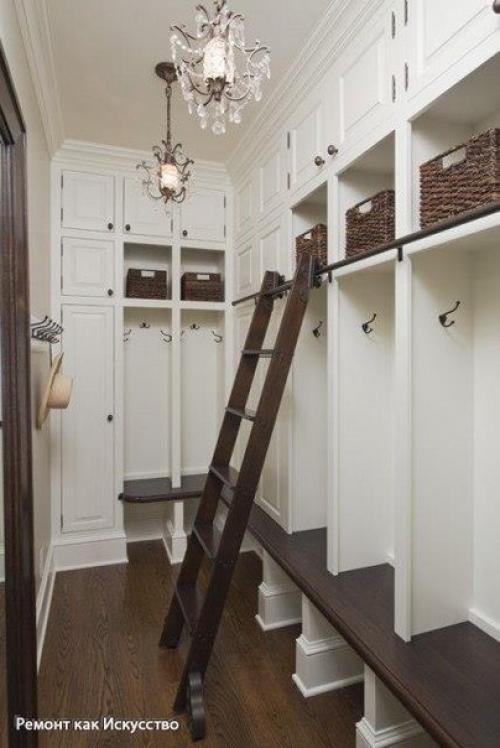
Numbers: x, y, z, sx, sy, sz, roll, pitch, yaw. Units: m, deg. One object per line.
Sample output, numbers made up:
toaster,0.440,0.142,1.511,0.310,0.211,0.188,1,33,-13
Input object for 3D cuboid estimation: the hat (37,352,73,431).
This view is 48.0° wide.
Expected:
hat,-1.034,0.089,2.943,0.082,0.339,0.275,11,-36,-5
